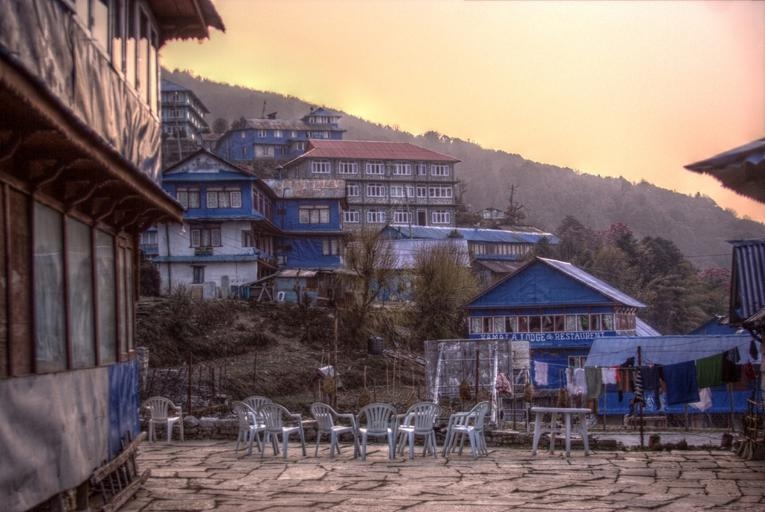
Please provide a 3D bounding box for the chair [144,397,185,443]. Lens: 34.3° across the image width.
[{"bbox_3d":[-5.595,4.218,31.784,1.005,1.123,1.197,1,-6,24],"label":"chair"}]
